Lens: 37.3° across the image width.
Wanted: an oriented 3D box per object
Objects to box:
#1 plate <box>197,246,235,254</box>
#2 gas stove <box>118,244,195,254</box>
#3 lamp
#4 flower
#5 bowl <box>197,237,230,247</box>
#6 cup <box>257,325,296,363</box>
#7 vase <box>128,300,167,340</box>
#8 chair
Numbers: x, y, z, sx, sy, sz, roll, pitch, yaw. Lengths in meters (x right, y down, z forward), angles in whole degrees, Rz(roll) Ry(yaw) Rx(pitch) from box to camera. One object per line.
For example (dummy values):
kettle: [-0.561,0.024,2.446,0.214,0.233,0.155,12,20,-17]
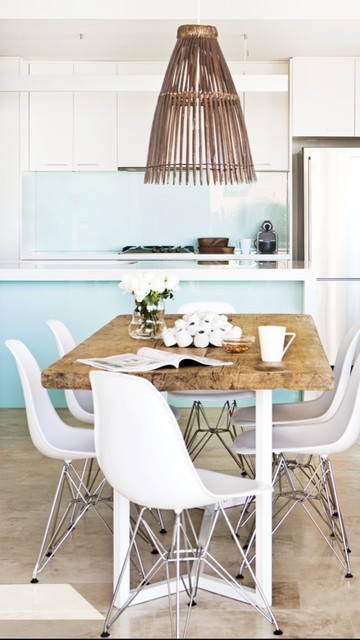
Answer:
plate: [0.357,-0.703,5.345,0.361,0.075,0.324,-1,8,5]
gas stove: [-0.210,-0.709,5.338,0.705,0.089,0.571,-1,8,1]
lamp: [0.058,-0.737,1.799,0.373,0.495,0.385,-17,24,-41]
flower: [-0.119,-0.045,1.978,0.217,0.266,0.262,5,-8,-31]
bowl: [0.342,-0.806,5.497,0.313,0.096,0.202,-1,8,2]
cup: [0.244,0.066,1.422,0.063,0.104,0.078,-1,7,7]
vase: [-0.117,0.002,1.976,0.130,0.206,0.124,1,-2,-5]
chair: [-0.040,0.424,1.882,1.090,0.820,1.163,1,8,16]
